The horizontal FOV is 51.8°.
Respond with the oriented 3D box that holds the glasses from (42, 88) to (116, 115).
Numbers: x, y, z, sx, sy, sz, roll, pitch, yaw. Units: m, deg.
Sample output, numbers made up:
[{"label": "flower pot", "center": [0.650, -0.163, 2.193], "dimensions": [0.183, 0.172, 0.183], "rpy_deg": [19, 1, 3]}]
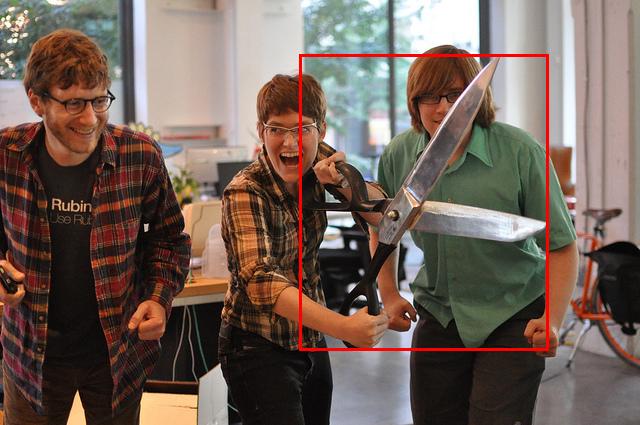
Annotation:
[{"label": "glasses", "center": [-0.942, -0.423, 2.548], "dimensions": [0.228, 0.087, 0.069], "rpy_deg": [-5, 8, -22]}]
